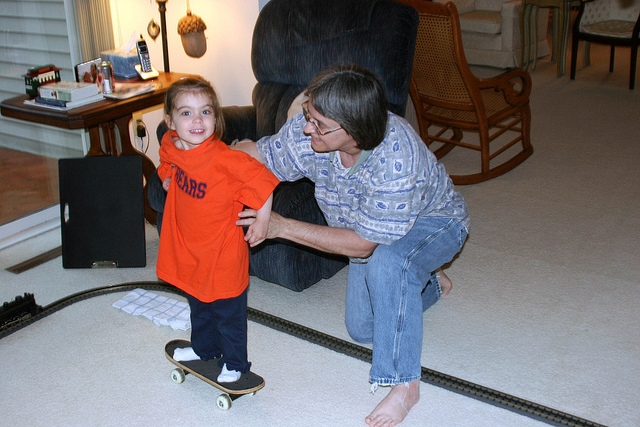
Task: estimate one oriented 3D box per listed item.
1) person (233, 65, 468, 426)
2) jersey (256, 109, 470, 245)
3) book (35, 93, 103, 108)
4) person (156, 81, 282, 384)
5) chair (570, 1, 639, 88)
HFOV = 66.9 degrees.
[{"bbox_3d":[0.118,0.224,2.278,0.957,1.206,1.154,-29,46,-22],"label":"person"},{"bbox_3d":[0.193,-0.159,2.162,0.973,0.577,0.453,4,20,12],"label":"jersey"},{"bbox_3d":[-1.553,-0.698,2.993,0.382,0.060,0.179,-9,21,-23],"label":"book"},{"bbox_3d":[-0.484,0.098,2.118,0.562,1.301,0.270,10,23,27],"label":"person"},{"bbox_3d":[3.397,-2.021,5.722,0.720,0.936,1.022,10,22,27],"label":"chair"}]
